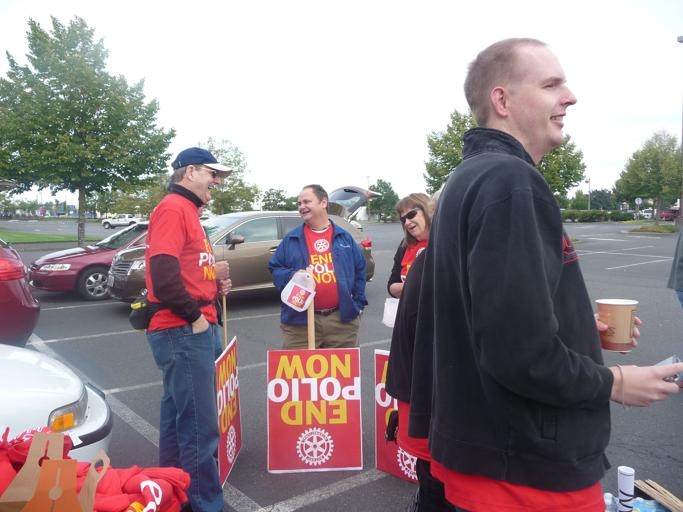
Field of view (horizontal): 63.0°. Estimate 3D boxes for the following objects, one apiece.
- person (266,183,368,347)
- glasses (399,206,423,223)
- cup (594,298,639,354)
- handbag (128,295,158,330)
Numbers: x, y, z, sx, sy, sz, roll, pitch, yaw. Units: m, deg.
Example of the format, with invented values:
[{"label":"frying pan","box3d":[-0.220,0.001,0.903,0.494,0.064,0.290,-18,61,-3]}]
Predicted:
[{"label":"person","box3d":[-0.200,0.120,4.838,0.867,1.485,0.649,0,5,-10]},{"label":"glasses","box3d":[0.564,-0.355,4.695,0.124,0.044,0.121,-21,-9,-39]},{"label":"cup","box3d":[1.212,0.304,2.480,0.212,0.236,0.230,1,-7,0]},{"label":"handbag","box3d":[-1.297,0.354,3.663,0.193,0.296,0.226,6,-5,-19]}]
